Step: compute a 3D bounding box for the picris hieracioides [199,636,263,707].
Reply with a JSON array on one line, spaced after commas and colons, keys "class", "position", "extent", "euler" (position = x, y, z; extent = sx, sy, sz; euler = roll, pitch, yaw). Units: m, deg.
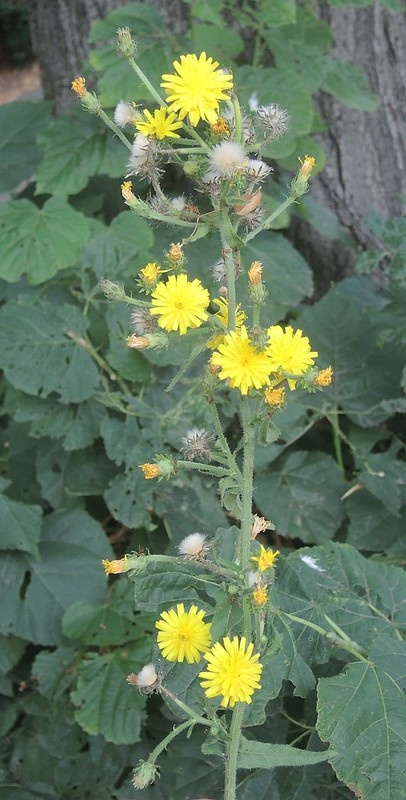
[{"class": "picris hieracioides", "position": [0.036, 0.322, 0.812], "extent": [0.074, 0.029, 0.072], "euler": [7, 9, 25]}]

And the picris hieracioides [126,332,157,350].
[{"class": "picris hieracioides", "position": [-0.080, -0.075, 0.907], "extent": [0.041, 0.024, 0.018], "euler": [0, -24, -2]}]

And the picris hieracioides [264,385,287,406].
[{"class": "picris hieracioides", "position": [0.097, -0.005, 0.874], "extent": [0.022, 0.024, 0.012], "euler": [-10, 0, -5]}]

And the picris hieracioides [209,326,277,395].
[{"class": "picris hieracioides", "position": [0.054, -0.058, 0.840], "extent": [0.069, 0.031, 0.074], "euler": [-9, -30, 44]}]

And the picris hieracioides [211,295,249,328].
[{"class": "picris hieracioides", "position": [0.037, -0.119, 0.966], "extent": [0.051, 0.054, 0.026], "euler": [19, -26, -37]}]

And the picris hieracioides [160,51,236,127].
[{"class": "picris hieracioides", "position": [-0.006, -0.404, 0.854], "extent": [0.082, 0.037, 0.086], "euler": [12, 17, 33]}]

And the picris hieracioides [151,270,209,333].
[{"class": "picris hieracioides", "position": [-0.024, -0.118, 0.853], "extent": [0.073, 0.077, 0.022], "euler": [6, -7, 1]}]

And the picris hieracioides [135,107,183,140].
[{"class": "picris hieracioides", "position": [-0.061, -0.373, 0.930], "extent": [0.052, 0.055, 0.026], "euler": [-3, 0, 2]}]

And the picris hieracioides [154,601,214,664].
[{"class": "picris hieracioides", "position": [-0.027, 0.309, 0.905], "extent": [0.075, 0.021, 0.081], "euler": [18, 25, 37]}]
